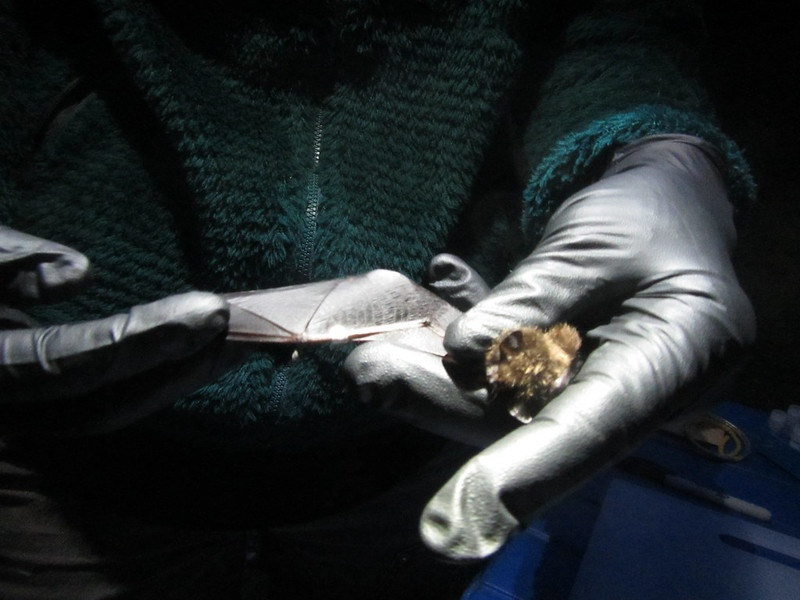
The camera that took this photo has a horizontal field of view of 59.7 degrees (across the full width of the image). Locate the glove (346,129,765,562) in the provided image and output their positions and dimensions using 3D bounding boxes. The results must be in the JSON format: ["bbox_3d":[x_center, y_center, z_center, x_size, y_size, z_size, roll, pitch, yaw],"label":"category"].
[{"bbox_3d":[0.196,0.010,0.690,0.129,0.434,0.267,48,-7,-39],"label":"glove"}]

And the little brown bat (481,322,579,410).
[{"bbox_3d":[0.121,0.054,0.610,0.082,0.039,0.082,-3,39,2],"label":"little brown bat"}]

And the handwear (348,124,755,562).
[{"bbox_3d":[0.199,0.048,0.685,0.263,0.466,0.128,46,-15,36],"label":"handwear"}]
